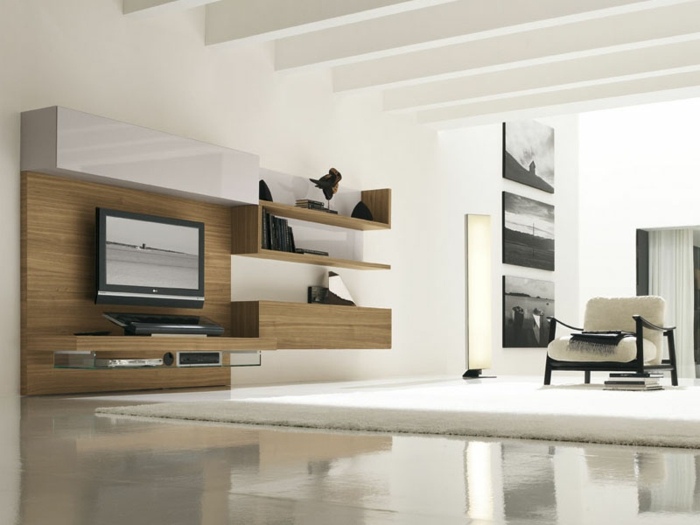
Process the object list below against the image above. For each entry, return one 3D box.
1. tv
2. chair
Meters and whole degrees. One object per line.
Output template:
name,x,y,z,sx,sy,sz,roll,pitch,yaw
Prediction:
tv,-1.486,-0.010,4.376,0.093,0.672,0.942,-5,-7,33
chair,2.311,0.796,5.235,0.774,0.574,0.936,-3,-6,35
